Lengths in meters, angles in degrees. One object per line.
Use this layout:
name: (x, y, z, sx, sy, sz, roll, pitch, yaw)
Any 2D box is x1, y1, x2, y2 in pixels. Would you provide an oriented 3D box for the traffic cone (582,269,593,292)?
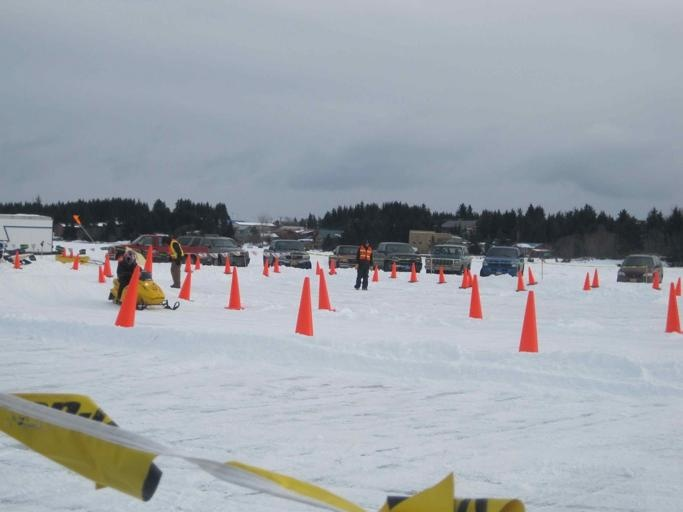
traffic cone: (8.043, 0.785, 34.252, 0.331, 0.485, 0.334, -4, 12, -4)

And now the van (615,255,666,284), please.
van: (9.472, 0.405, 33.030, 0.937, 0.775, 1.787, -1, -2, 28)
